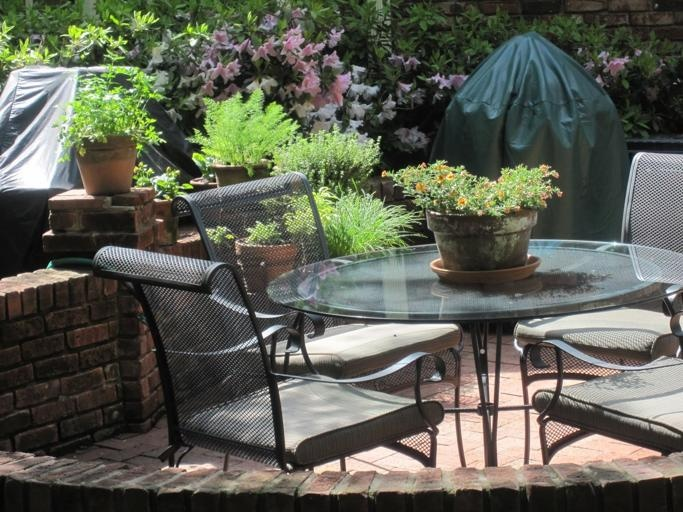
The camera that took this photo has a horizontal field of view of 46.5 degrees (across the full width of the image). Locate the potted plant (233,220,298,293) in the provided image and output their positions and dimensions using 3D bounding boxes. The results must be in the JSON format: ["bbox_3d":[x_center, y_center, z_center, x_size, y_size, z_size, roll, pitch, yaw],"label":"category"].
[{"bbox_3d":[-0.340,-0.020,3.934,0.347,0.352,0.337,10,31,11],"label":"potted plant"}]

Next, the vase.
[{"bbox_3d":[0.552,-0.043,3.130,0.380,0.189,0.347,-8,7,-26],"label":"vase"}]

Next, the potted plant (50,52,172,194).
[{"bbox_3d":[-1.215,-0.627,4.200,0.499,0.489,0.460,-3,0,-28],"label":"potted plant"}]

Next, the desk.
[{"bbox_3d":[0.479,0.104,3.310,1.410,0.693,1.202,-7,7,-8],"label":"desk"}]

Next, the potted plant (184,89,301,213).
[{"bbox_3d":[-0.632,-0.734,5.051,0.629,0.576,0.555,6,11,-13],"label":"potted plant"}]

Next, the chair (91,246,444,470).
[{"bbox_3d":[-0.344,0.282,3.187,1.192,1.052,0.852,-10,14,-40],"label":"chair"}]
